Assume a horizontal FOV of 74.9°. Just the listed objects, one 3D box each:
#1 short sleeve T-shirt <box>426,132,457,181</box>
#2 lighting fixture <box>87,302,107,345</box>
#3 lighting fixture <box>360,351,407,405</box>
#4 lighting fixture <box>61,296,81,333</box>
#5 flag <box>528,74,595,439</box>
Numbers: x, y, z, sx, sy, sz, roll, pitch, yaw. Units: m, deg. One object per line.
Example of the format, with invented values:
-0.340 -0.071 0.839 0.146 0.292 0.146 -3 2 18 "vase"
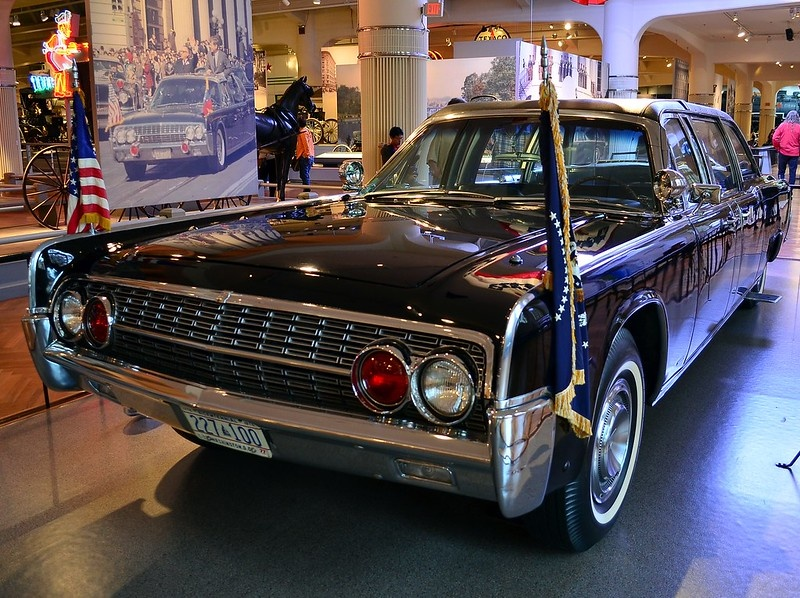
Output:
0.255 -0.932 3.377 0.184 0.498 0.061 5 -26 11 "short sleeve T-shirt"
-1.262 0.101 2.151 0.153 0.183 0.027 7 4 42 "lighting fixture"
-0.048 0.240 1.587 0.152 0.166 0.044 -10 3 30 "lighting fixture"
-1.438 0.071 2.260 0.130 0.156 0.049 11 8 41 "lighting fixture"
0.506 -0.118 1.563 0.167 1.048 0.305 1 14 5 "flag"
